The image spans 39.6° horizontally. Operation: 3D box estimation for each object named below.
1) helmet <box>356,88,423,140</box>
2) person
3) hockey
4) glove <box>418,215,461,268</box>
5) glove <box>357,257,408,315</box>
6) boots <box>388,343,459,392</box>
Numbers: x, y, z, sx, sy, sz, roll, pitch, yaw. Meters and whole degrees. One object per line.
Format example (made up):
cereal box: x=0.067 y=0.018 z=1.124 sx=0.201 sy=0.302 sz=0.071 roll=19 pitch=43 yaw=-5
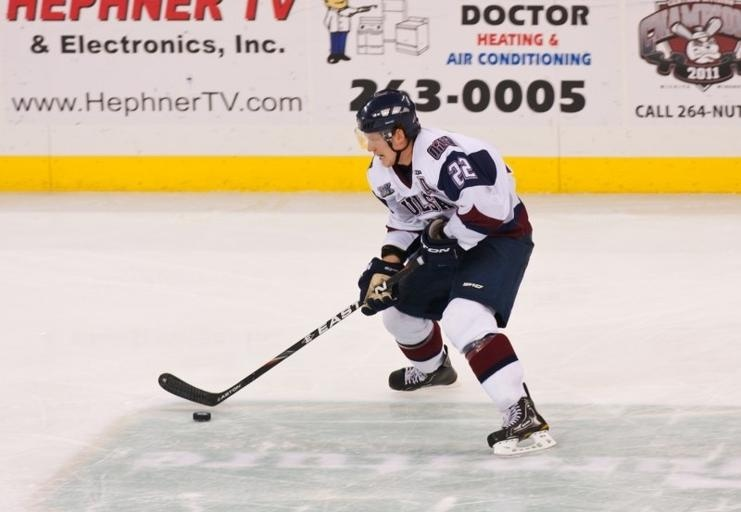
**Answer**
helmet: x=0.088 y=-0.669 z=4.840 sx=0.305 sy=0.228 sz=0.208 roll=7 pitch=6 yaw=-5
person: x=0.437 y=0.027 z=4.749 sx=1.024 sy=1.539 sz=0.524 roll=13 pitch=19 yaw=42
hockey: x=-0.402 y=0.414 z=5.413 sx=1.434 sy=0.180 sz=0.131 roll=-22 pitch=47 yaw=1
glove: x=0.330 y=-0.074 z=4.770 sx=0.208 sy=0.157 sz=0.219 roll=1 pitch=52 yaw=6
glove: x=0.059 y=0.146 z=4.951 sx=0.296 sy=0.242 sz=0.115 roll=13 pitch=7 yaw=28
boots: x=0.198 y=0.548 z=5.119 sx=0.444 sy=0.237 sz=0.131 roll=-1 pitch=25 yaw=-5
